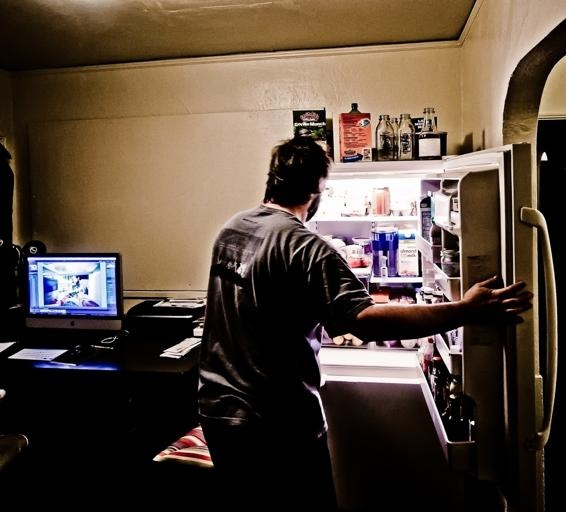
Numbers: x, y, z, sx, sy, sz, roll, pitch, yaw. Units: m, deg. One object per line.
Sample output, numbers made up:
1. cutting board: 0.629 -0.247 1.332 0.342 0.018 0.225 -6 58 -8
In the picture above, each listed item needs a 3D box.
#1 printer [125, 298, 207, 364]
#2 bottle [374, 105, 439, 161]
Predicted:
1. printer: -0.712 0.418 3.283 0.333 0.214 0.342 2 8 4
2. bottle: 0.782 -0.754 3.380 0.415 0.353 0.160 3 8 20
